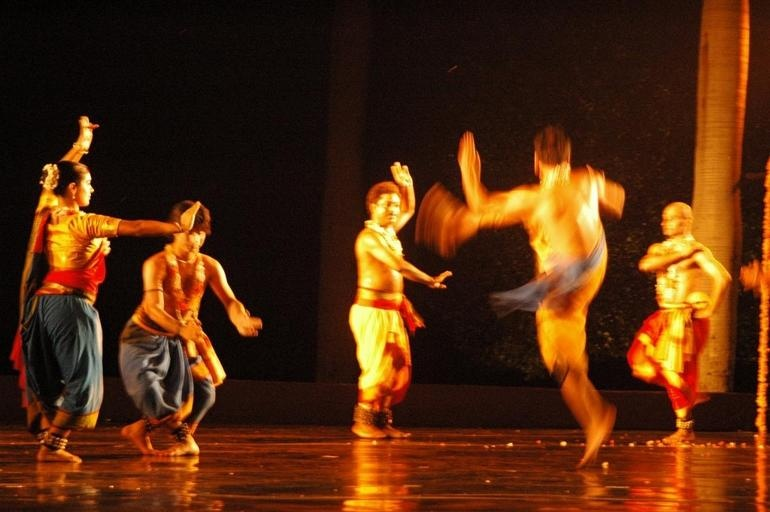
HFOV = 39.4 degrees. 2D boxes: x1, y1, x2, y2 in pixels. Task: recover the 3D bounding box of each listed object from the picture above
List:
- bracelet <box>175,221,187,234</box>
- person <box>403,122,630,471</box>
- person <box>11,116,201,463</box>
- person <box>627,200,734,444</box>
[{"bbox_3d":[-1.204,-0.169,6.348,0.061,0.039,0.063,23,-36,16],"label":"bracelet"},{"bbox_3d":[0.797,0.211,6.268,1.126,1.880,0.717,1,-12,14],"label":"person"},{"bbox_3d":[-1.815,0.308,6.370,0.760,1.788,0.363,3,-12,7],"label":"person"},{"bbox_3d":[2.067,0.451,7.552,0.667,1.692,0.416,3,-12,9],"label":"person"}]
